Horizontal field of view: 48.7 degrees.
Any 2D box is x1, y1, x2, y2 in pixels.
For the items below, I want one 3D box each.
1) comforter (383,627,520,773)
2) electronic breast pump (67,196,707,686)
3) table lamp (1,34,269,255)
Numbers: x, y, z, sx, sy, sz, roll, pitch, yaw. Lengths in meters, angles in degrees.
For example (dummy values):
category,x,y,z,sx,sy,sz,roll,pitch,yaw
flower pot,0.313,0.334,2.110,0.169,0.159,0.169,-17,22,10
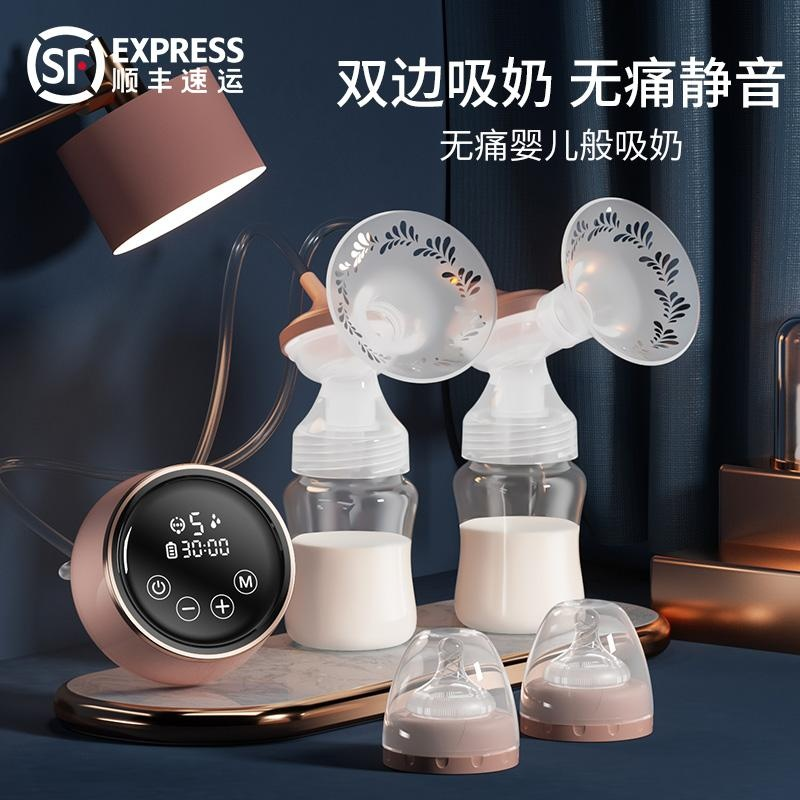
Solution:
category,x,y,z,sx,sy,sz,roll,pitch,yaw
comforter,0.036,0.206,0.610,0.086,0.083,0.086,0,-8,-3
electronic breast pump,0.051,0.052,0.932,0.317,0.504,0.384,-1,12,-12
table lamp,-0.228,-0.225,0.771,0.204,0.186,0.095,-1,4,-5
